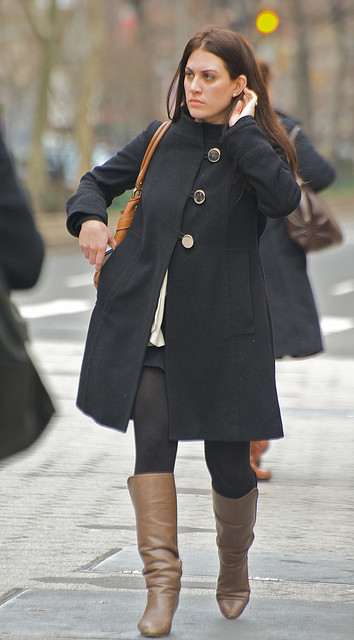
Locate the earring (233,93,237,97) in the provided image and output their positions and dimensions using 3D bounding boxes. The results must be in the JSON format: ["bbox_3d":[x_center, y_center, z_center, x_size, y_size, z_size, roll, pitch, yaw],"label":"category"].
[{"bbox_3d":[0.169,-0.665,2.078,0.010,0.009,0.002,9,4,8],"label":"earring"}]

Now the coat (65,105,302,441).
[{"bbox_3d":[0.030,-0.146,2.106,0.703,0.963,0.323,5,6,17],"label":"coat"}]
